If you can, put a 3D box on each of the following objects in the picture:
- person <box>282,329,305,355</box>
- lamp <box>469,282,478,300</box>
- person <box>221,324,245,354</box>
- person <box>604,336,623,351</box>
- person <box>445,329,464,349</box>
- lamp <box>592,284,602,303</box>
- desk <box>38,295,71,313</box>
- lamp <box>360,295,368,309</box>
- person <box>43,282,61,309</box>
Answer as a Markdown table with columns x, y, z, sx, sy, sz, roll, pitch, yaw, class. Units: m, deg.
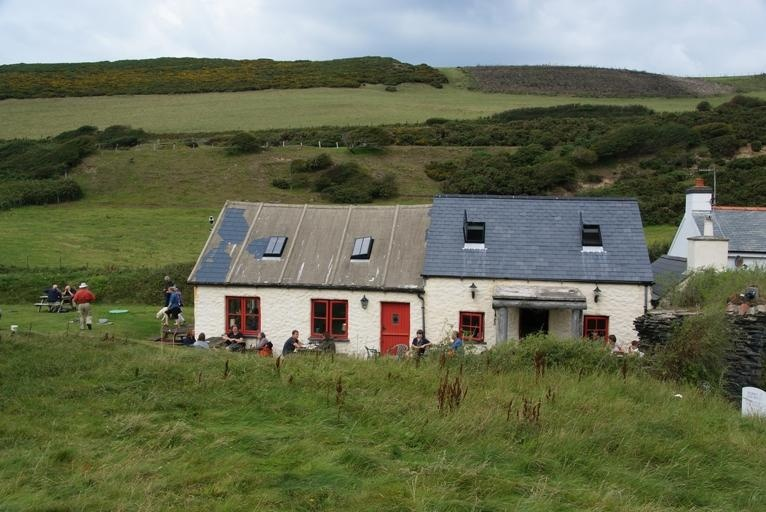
| x | y | z | sx | sy | sz | roll | pitch | yaw | class |
| --- | --- | --- | --- | --- | --- | --- | --- | --- | --- |
| -3.301 | 3.138 | 25.228 | 1.014 | 1.206 | 0.649 | -3 | 11 | -23 | person |
| 3.569 | 1.357 | 27.163 | 0.333 | 0.644 | 0.114 | 4 | 0 | -1 | lamp |
| -5.729 | 3.209 | 26.754 | 1.204 | 1.255 | 0.935 | 2 | -6 | -36 | person |
| 8.576 | 3.231 | 25.444 | 0.513 | 0.802 | 0.514 | -2 | -6 | 12 | person |
| 2.551 | 3.071 | 24.216 | 0.616 | 0.947 | 0.647 | 4 | -41 | 12 | person |
| 8.361 | 1.454 | 26.739 | 0.309 | 0.613 | 0.081 | 4 | 0 | -1 | lamp |
| -14.664 | 2.227 | 30.721 | 1.148 | 0.471 | 0.961 | 0 | -3 | 14 | desk |
| -0.728 | 1.851 | 27.608 | 0.316 | 0.566 | 0.176 | 3 | 0 | -1 | lamp |
| -14.580 | 1.835 | 30.390 | 0.575 | 1.276 | 0.616 | 4 | -1 | -21 | person |
